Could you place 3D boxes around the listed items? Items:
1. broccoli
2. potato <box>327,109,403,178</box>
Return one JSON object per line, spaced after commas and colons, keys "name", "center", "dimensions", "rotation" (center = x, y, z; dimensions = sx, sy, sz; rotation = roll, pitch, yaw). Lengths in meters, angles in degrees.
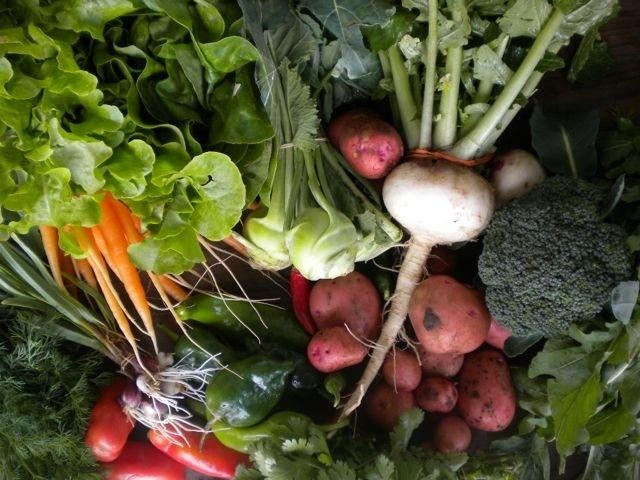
{"name": "broccoli", "center": [0.476, 0.033, 1.258], "dimensions": [0.304, 0.328, 0.104], "rotation": [18, 13, 28]}
{"name": "potato", "center": [0.096, -0.224, 1.369], "dimensions": [0.096, 0.103, 0.180], "rotation": [-29, 44, -14]}
